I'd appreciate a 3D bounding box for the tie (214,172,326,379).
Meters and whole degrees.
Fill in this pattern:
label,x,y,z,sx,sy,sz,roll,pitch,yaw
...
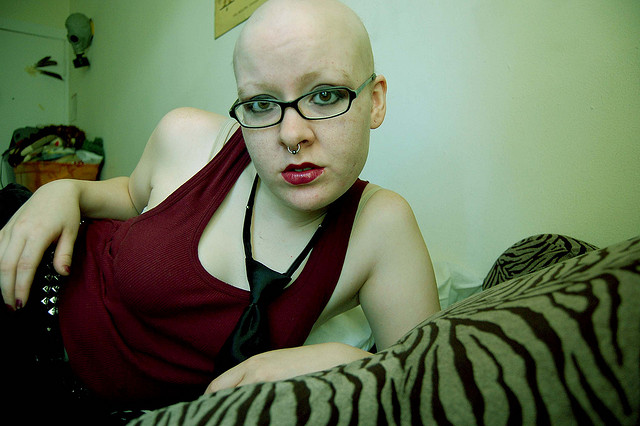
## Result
label,x,y,z,sx,sy,sz,roll,pitch,yaw
tie,-0.161,0.165,1.663,0.231,0.060,0.789,29,38,-8

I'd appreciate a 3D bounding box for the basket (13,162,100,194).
label,x,y,z,sx,sy,sz,roll,pitch,yaw
basket,-1.327,-0.199,2.927,0.398,0.155,0.289,-3,16,-29

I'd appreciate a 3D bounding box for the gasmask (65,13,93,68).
label,x,y,z,sx,sy,sz,roll,pitch,yaw
gasmask,-1.481,-1.061,3.530,0.166,0.310,0.153,0,27,-12
